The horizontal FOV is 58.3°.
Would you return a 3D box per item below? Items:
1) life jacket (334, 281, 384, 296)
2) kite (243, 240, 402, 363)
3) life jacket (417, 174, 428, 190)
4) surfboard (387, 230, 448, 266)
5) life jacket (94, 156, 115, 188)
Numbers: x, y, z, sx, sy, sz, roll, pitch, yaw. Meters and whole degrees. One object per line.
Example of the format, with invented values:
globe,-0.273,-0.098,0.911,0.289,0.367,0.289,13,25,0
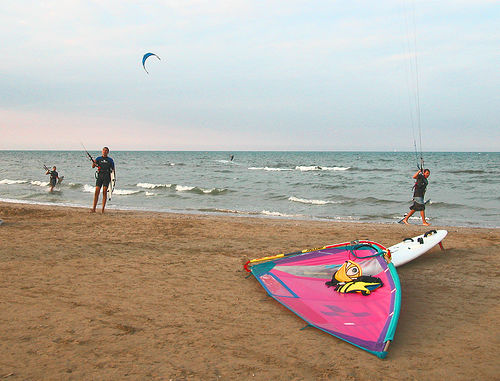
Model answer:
life jacket,1.681,1.496,6.922,0.904,0.170,0.258,-3,25,14
kite,1.240,1.478,7.267,2.218,0.531,4.134,-2,7,11
life jacket,4.673,-0.235,12.187,0.245,0.418,0.486,3,4,18
surfboard,3.469,1.077,8.935,1.987,0.214,0.443,-17,21,-34
life jacket,-3.836,-0.499,11.741,0.482,0.799,0.584,0,4,-15
